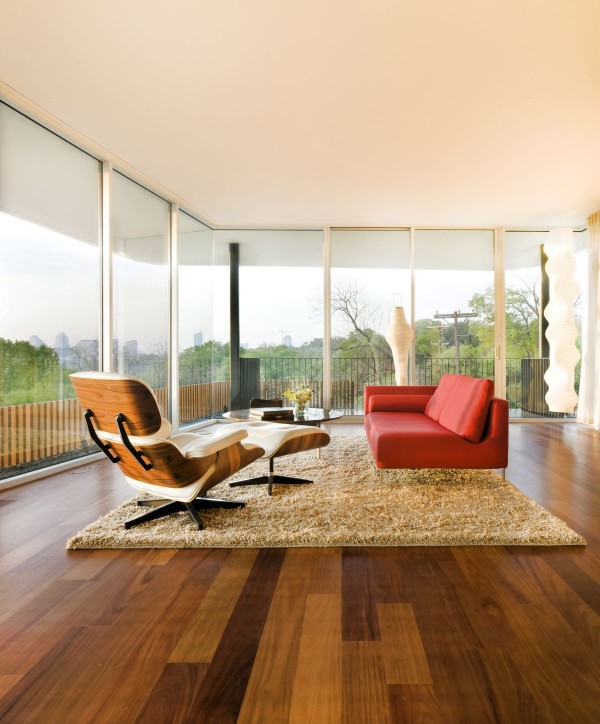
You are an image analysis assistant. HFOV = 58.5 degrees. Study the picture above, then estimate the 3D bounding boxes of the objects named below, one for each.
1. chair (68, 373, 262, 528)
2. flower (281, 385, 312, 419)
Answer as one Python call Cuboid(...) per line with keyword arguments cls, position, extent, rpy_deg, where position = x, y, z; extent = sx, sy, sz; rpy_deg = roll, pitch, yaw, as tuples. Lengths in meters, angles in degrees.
Cuboid(cls="chair", position=(-0.624, 0.430, 2.734), extent=(0.710, 0.713, 0.899), rpy_deg=(-1, 0, 31))
Cuboid(cls="flower", position=(-0.008, 0.311, 4.121), extent=(0.258, 0.296, 0.224), rpy_deg=(1, -6, -7))
